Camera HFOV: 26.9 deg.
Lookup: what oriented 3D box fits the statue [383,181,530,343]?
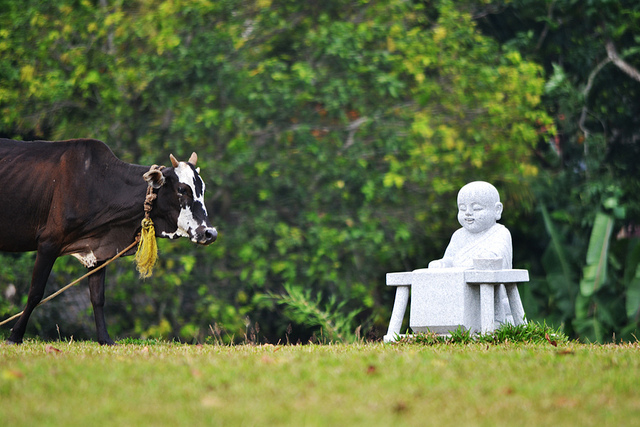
[{"bbox_3d":[2.365,0.769,21.929,1.670,2.550,2.128,0,-1,-44],"label":"statue"}]
